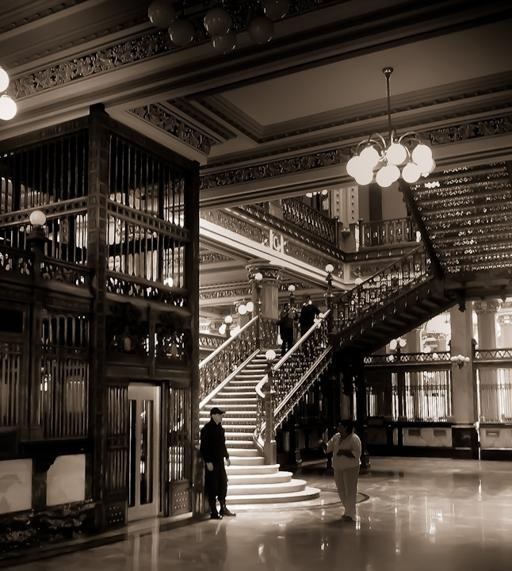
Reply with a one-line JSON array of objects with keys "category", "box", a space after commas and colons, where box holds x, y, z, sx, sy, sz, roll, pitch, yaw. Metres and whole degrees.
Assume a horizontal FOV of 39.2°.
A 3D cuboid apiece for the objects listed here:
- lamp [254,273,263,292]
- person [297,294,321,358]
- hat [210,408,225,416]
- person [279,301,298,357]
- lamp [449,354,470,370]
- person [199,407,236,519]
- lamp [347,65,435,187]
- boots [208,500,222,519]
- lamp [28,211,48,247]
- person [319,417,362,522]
[{"category": "lamp", "box": [0.053, -0.079, 16.250, 0.156, 0.205, 0.594, 7, -55, 15]}, {"category": "person", "box": [1.109, 0.873, 14.873, 0.419, 1.259, 1.072, -2, -9, 5]}, {"category": "hat", "box": [-0.494, 1.602, 9.111, 0.136, 0.105, 0.112, -1, -5, -3]}, {"category": "person", "box": [0.712, 0.833, 15.611, 0.415, 0.539, 1.799, 3, -42, 1]}, {"category": "lamp", "box": [4.914, 1.837, 17.228, 0.434, 0.311, 0.290, -6, -10, 20]}, {"category": "person", "box": [-0.479, 2.209, 8.976, 0.421, 1.335, 0.409, 1, -8, -12]}, {"category": "lamp", "box": [1.502, -1.864, 8.035, 0.811, 1.505, 0.925, 7, -11, -25]}, {"category": "boots", "box": [-0.490, 2.745, 8.810, 0.167, 0.208, 0.281, -1, -10, -3]}, {"category": "lamp", "box": [-2.271, -0.603, 7.495, 0.120, 0.371, 0.123, -1, 3, -34]}, {"category": "person", "box": [1.077, 2.277, 8.919, 0.441, 1.176, 0.871, -2, -9, 6]}]
